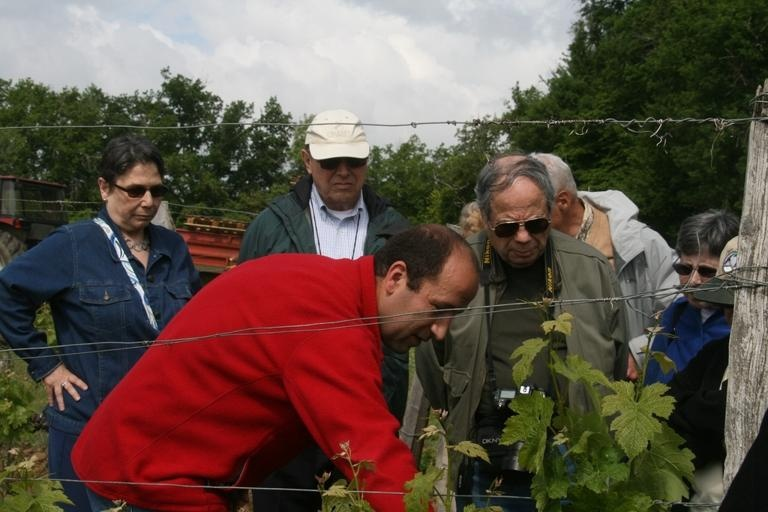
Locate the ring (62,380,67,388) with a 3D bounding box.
[{"bbox_3d":[-2.252,0.892,7.031,0.046,0.043,0.017,0,1,-2],"label":"ring"}]

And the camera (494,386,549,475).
[{"bbox_3d":[0.820,1.180,6.755,0.233,0.544,0.612,15,-16,-42],"label":"camera"}]
